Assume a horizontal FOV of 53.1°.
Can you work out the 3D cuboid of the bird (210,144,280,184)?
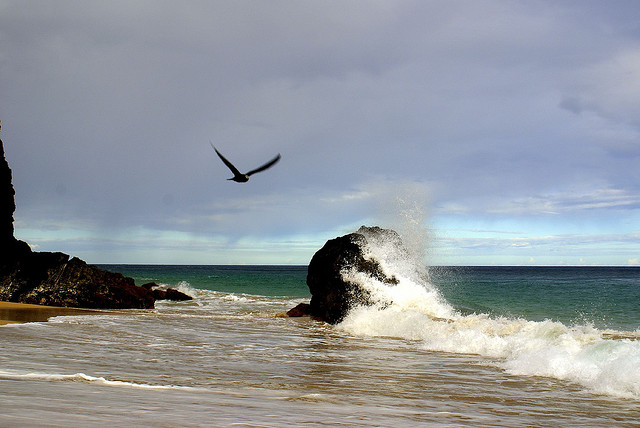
[{"bbox_3d":[-2.456,-1.424,20.091,2.372,0.814,1.283,11,10,28],"label":"bird"}]
